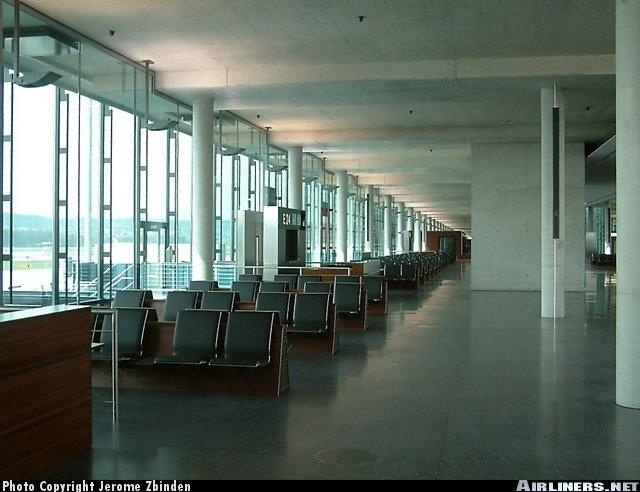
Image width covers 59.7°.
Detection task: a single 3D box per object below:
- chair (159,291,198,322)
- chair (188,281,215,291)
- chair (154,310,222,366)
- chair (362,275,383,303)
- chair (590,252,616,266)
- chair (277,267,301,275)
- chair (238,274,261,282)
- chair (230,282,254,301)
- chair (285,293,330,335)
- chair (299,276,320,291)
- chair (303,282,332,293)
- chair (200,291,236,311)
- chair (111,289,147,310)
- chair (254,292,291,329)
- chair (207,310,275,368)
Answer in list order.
[{"bbox_3d":[-2.410,1.045,9.552,0.721,0.600,0.591,1,-12,11],"label":"chair"},{"bbox_3d":[-2.359,0.803,11.110,0.441,0.228,0.205,1,-14,-5],"label":"chair"},{"bbox_3d":[-1.727,1.157,6.962,0.830,0.619,0.710,-7,-1,42],"label":"chair"},{"bbox_3d":[1.277,1.079,13.616,0.516,0.675,0.485,0,0,14],"label":"chair"},{"bbox_3d":[18.732,0.749,36.880,0.961,0.837,1.556,6,-7,-41],"label":"chair"},{"bbox_3d":[-1.012,0.753,17.674,0.709,0.290,0.596,1,5,4],"label":"chair"},{"bbox_3d":[-1.626,0.743,12.837,0.340,0.197,0.203,1,-2,6],"label":"chair"},{"bbox_3d":[-1.509,0.894,11.100,0.445,0.467,0.407,0,-17,3],"label":"chair"},{"bbox_3d":[-0.204,1.118,9.166,0.868,0.635,0.659,0,-10,13],"label":"chair"},{"bbox_3d":[-0.268,0.838,12.693,0.367,0.382,0.320,0,-11,0],"label":"chair"},{"bbox_3d":[-0.060,0.828,10.857,0.385,0.199,0.263,-1,-8,10],"label":"chair"},{"bbox_3d":[-1.722,0.929,9.316,0.388,0.211,0.109,3,-5,9],"label":"chair"},{"bbox_3d":[-3.204,0.878,9.179,0.531,0.262,0.646,0,0,-3],"label":"chair"},{"bbox_3d":[-0.716,0.958,8.250,0.644,0.488,0.322,3,-3,16],"label":"chair"},{"bbox_3d":[-0.844,1.110,6.997,0.989,0.684,0.690,-1,-5,19],"label":"chair"}]
